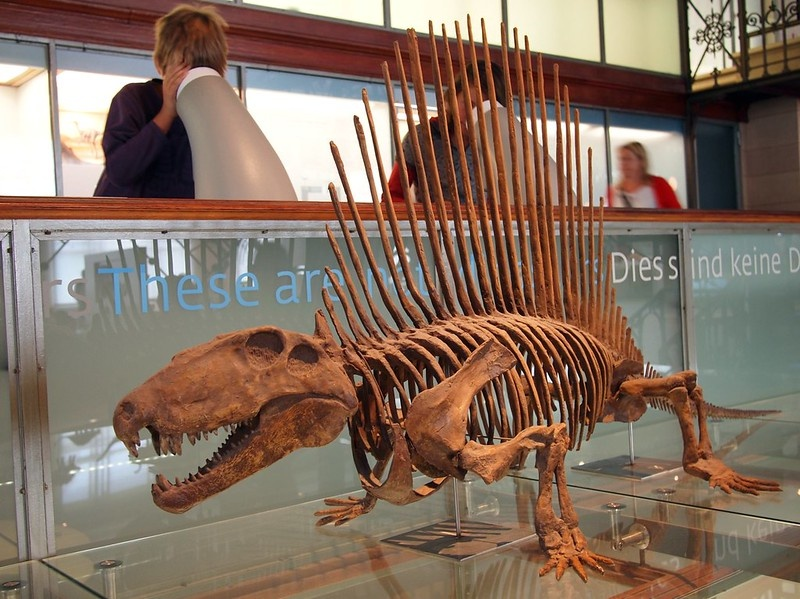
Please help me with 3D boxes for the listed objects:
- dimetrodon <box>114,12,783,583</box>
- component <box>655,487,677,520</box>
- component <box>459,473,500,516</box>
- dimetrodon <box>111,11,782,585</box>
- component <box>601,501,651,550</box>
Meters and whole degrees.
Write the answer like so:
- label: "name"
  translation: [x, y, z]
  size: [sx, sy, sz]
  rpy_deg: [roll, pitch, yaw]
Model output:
- label: "dimetrodon"
  translation: [0.107, -0.052, 3.230]
  size: [2.504, 1.959, 1.650]
  rpy_deg: [-5, 11, -25]
- label: "component"
  translation: [1.094, 0.851, 3.308]
  size: [0.075, 0.132, 0.074]
  rpy_deg: [-9, 8, -44]
- label: "component"
  translation: [0.327, 0.839, 3.354]
  size: [0.123, 0.126, 0.196]
  rpy_deg: [-29, -19, 6]
- label: "dimetrodon"
  translation: [0.243, -0.068, 3.565]
  size: [3.241, 2.175, 1.559]
  rpy_deg: [-9, 9, -42]
- label: "component"
  translation: [0.849, 0.874, 3.020]
  size: [0.191, 0.188, 0.108]
  rpy_deg: [2, -8, -40]
